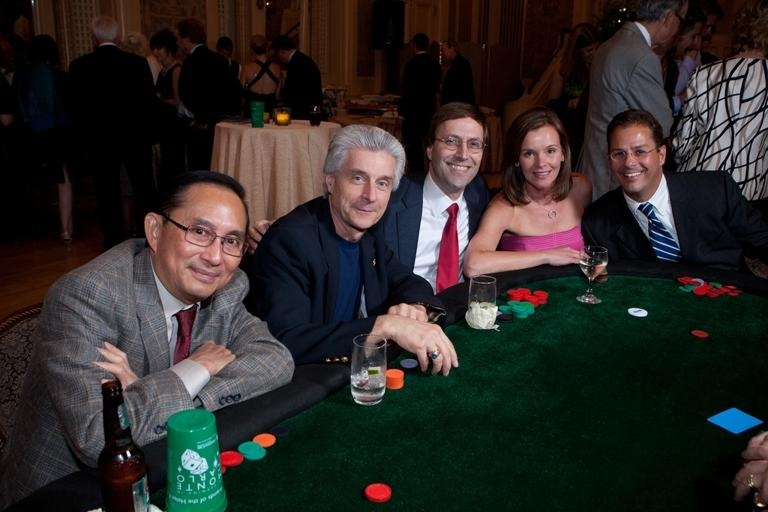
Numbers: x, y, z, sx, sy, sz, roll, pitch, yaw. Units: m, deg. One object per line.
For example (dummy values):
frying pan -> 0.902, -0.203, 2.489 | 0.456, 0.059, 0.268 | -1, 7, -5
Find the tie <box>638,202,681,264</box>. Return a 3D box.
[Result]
tie -> 1.684, -0.145, 3.131 | 0.229, 0.340, 0.138 | 0, 15, 9

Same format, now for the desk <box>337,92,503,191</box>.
desk -> 0.775, -2.204, 8.892 | 2.436, 1.274, 2.424 | 4, 28, 2

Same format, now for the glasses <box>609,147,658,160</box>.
glasses -> 1.508, -0.616, 3.094 | 0.256, 0.092, 0.100 | 4, 16, 22

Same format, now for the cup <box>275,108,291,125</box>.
cup -> -1.056, -1.473, 5.408 | 0.178, 0.201, 0.177 | 1, 26, -1

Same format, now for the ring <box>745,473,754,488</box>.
ring -> 1.016, 0.624, 1.416 | 0.013, 0.030, 0.025 | 6, 17, 28

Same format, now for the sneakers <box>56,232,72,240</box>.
sneakers -> -3.502, -0.212, 5.612 | 0.126, 0.130, 0.119 | -2, 5, -27

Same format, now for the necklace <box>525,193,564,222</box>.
necklace -> 1.044, -0.310, 3.351 | 0.146, 0.206, 0.055 | -56, 8, -33

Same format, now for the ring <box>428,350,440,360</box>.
ring -> 0.186, 0.371, 1.923 | 0.034, 0.023, 0.032 | 1, -1, 0

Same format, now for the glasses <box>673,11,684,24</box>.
glasses -> 2.195, -1.768, 3.823 | 0.055, 0.073, 0.024 | -2, -26, -41
